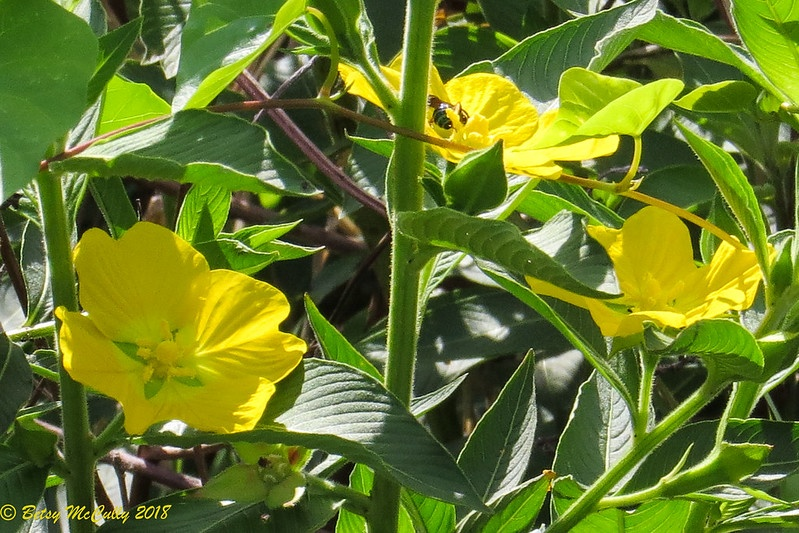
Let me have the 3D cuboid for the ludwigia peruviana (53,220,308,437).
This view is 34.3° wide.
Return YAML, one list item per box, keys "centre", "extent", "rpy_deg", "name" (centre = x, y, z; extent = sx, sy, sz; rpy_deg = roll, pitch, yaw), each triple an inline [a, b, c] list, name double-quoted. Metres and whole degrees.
- centre: [-0.179, 0.059, 1.020]
  extent: [0.192, 0.092, 0.143]
  rpy_deg: [20, 53, 12]
  name: "ludwigia peruviana"

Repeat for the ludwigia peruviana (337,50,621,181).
- centre: [0.054, -0.094, 1.067]
  extent: [0.148, 0.056, 0.151]
  rpy_deg: [41, 23, 26]
  name: "ludwigia peruviana"

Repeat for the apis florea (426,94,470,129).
- centre: [0.038, -0.130, 1.092]
  extent: [0.035, 0.025, 0.011]
  rpy_deg: [35, 45, 22]
  name: "apis florea"

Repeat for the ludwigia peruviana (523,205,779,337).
- centre: [0.200, 0.018, 1.085]
  extent: [0.141, 0.054, 0.138]
  rpy_deg: [-28, 28, -6]
  name: "ludwigia peruviana"
